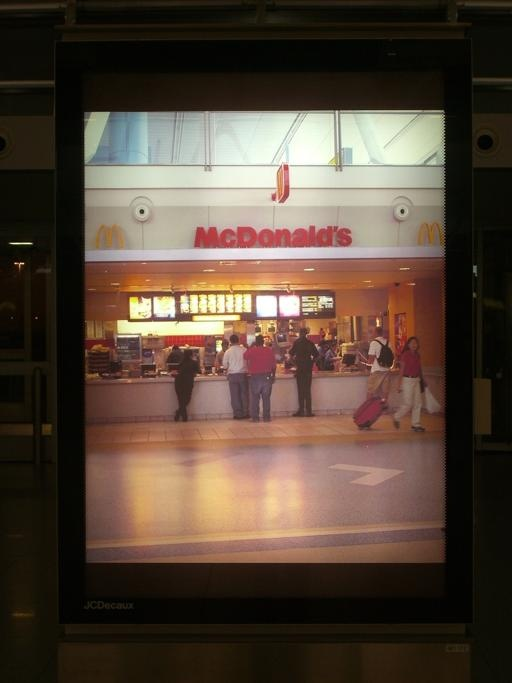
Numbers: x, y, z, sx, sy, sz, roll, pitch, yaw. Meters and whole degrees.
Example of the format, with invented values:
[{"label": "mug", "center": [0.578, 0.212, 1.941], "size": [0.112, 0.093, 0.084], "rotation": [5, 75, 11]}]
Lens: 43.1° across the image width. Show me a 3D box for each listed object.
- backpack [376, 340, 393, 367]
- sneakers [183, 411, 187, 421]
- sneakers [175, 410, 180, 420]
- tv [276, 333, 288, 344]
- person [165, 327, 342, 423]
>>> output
[{"label": "backpack", "center": [1.251, 0.141, 6.332], "size": [0.147, 0.266, 0.340], "rotation": [-2, -2, 11]}, {"label": "sneakers", "center": [-0.878, 0.933, 7.970], "size": [0.042, 0.115, 0.289], "rotation": [-1, -2, -10]}, {"label": "sneakers", "center": [-0.992, 0.927, 8.161], "size": [0.061, 0.140, 0.127], "rotation": [-1, 8, 1]}, {"label": "tv", "center": [0.306, -0.039, 8.085], "size": [0.106, 0.108, 0.027], "rotation": [-2, 15, -19]}, {"label": "person", "center": [0.231, 0.677, 8.792], "size": [2.190, 0.746, 0.769], "rotation": [-2, -2, -8]}]
